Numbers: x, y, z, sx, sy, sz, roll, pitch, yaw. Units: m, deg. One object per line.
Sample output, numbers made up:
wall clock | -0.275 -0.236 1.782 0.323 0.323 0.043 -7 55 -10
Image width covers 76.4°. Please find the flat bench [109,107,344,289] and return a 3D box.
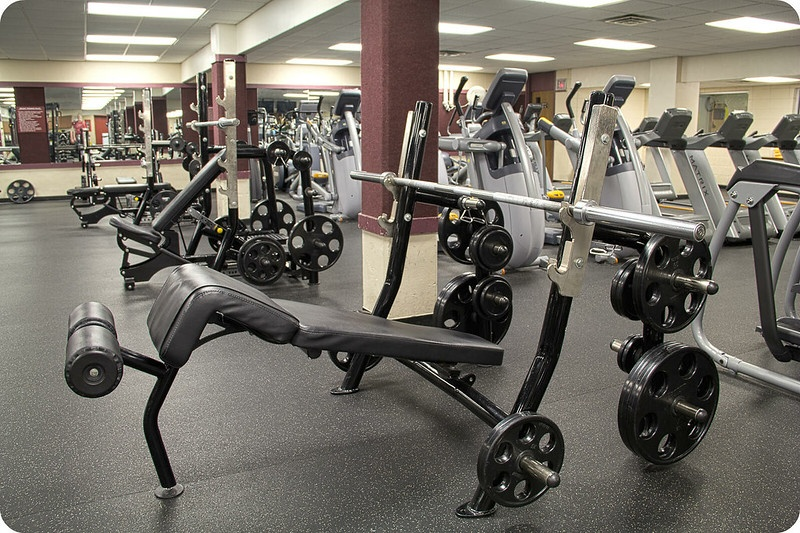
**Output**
flat bench | -1.545 -0.516 4.614 1.474 1.402 1.902 8 9 43

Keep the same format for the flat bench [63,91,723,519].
flat bench | 0.171 0.134 2.129 2.336 1.609 1.011 0 14 0

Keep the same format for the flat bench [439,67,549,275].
flat bench | 0.829 -1.085 5.646 1.135 1.958 2.088 -6 11 -26
